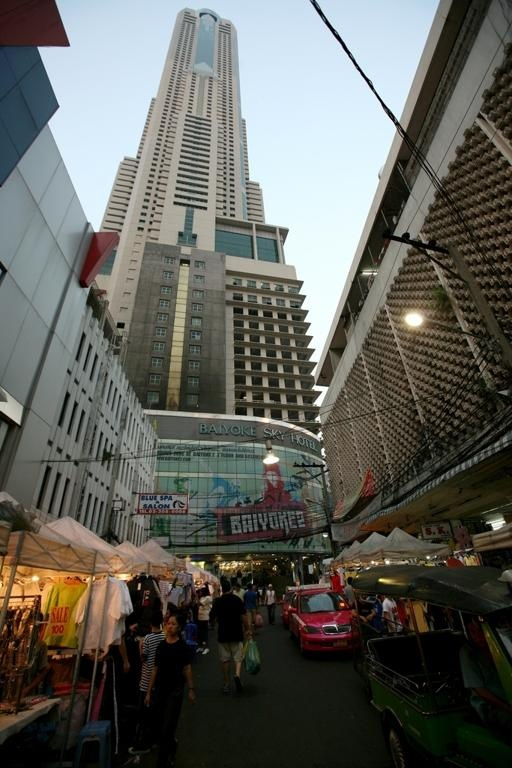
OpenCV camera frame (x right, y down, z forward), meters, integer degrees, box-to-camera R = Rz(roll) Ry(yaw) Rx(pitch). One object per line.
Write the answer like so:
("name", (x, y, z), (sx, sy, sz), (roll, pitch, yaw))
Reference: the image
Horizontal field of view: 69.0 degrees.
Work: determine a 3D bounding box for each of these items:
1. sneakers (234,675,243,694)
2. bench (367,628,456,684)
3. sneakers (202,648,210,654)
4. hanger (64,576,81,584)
("sneakers", (-0.344, 5.652, 6.940), (0.138, 0.345, 0.153), (-6, -16, 13))
("bench", (1.958, 3.251, 4.450), (0.868, 0.491, 0.488), (21, -48, -23))
("sneakers", (-1.602, 8.562, 11.813), (0.108, 0.125, 0.299), (5, -27, 9))
("hanger", (-3.079, 3.281, 6.228), (0.160, 0.068, 0.198), (2, -15, 7))
